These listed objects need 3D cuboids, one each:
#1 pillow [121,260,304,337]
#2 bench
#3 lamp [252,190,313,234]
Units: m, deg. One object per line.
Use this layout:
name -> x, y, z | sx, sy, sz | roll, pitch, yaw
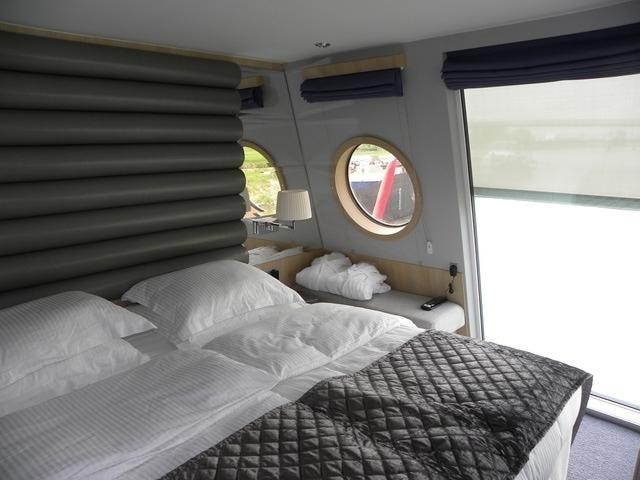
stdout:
pillow -> -0.722, 0.400, 2.954 | 0.739, 0.164, 0.647 | -11, 21, -37
bench -> 0.820, 0.635, 3.847 | 1.431, 0.593, 0.390 | 7, 39, 31
lamp -> -0.317, -0.263, 3.937 | 0.325, 0.409, 0.581 | 8, 15, 33
